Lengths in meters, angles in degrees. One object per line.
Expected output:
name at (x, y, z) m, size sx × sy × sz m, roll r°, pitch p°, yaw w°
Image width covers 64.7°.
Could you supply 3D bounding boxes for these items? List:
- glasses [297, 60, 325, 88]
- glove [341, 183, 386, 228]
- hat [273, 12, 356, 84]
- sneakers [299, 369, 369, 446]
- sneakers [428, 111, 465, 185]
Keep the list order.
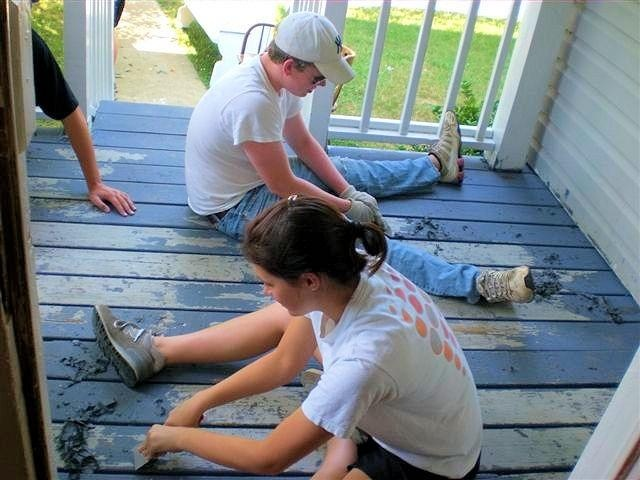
glasses at (-0.044, -0.751, 2.279) m, size 0.107 × 0.032 × 0.106 m, roll 5°, pitch 59°, yaw -57°
glove at (0.223, -0.172, 2.626) m, size 0.255 × 0.104 × 0.212 m, roll 24°, pitch 15°, yaw -9°
hat at (-0.052, -0.842, 2.323) m, size 0.359 × 0.170 × 0.236 m, roll 38°, pitch 58°, yaw 2°
sneakers at (0.042, 0.545, 1.833) m, size 0.100 × 0.239 × 0.233 m, roll -26°, pitch 57°, yaw -9°
sneakers at (0.807, -0.560, 3.400) m, size 0.278 × 0.537 × 0.181 m, roll 7°, pitch -8°, yaw -30°
